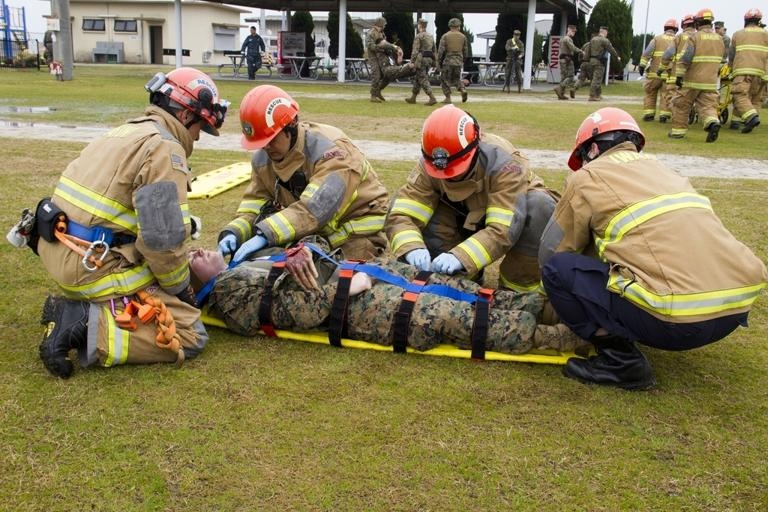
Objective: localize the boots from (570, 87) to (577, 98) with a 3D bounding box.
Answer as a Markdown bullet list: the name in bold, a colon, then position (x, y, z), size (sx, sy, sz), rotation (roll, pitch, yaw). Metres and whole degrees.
- **boots**: position (5.954, -5.051, 20.218), size (0.169, 0.524, 0.226), rotation (2, 47, 12)

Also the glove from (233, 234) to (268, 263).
- **glove**: position (-1.060, -0.065, 5.094), size (0.090, 0.318, 0.171), rotation (45, -8, -38)

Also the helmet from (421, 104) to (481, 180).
- **helmet**: position (0.557, -0.883, 5.177), size (0.426, 0.320, 0.583), rotation (0, 59, 22)

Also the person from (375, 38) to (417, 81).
- **person**: position (0.173, -5.273, 17.652), size (1.181, 0.667, 1.405), rotation (-27, 20, -11)

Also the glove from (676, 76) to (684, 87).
- **glove**: position (5.564, -3.268, 12.109), size (0.122, 0.167, 0.057), rotation (1, 1, -44)

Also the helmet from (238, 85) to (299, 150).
- **helmet**: position (-0.921, -1.104, 5.207), size (0.451, 0.509, 0.286), rotation (-2, 16, -14)

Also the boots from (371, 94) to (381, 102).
- **boots**: position (-0.199, -4.223, 17.357), size (0.318, 0.126, 0.222), rotation (-1, -22, 20)

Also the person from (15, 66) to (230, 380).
- **person**: position (-1.783, -0.063, 4.336), size (1.070, 1.590, 0.695), rotation (-5, 16, -23)

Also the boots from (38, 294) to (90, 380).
- **boots**: position (-2.098, 0.531, 4.281), size (0.289, 0.451, 0.330), rotation (-2, 16, -15)

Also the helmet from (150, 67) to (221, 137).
- **helmet**: position (-1.431, -1.186, 4.775), size (0.538, 0.395, 0.415), rotation (21, 11, -32)

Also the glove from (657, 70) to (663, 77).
- **glove**: position (6.179, -4.063, 14.373), size (0.108, 0.140, 0.115), rotation (20, 25, 36)

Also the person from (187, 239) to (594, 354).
- **person**: position (0.047, 0.262, 4.741), size (2.349, 0.579, 1.017), rotation (8, 32, 6)
